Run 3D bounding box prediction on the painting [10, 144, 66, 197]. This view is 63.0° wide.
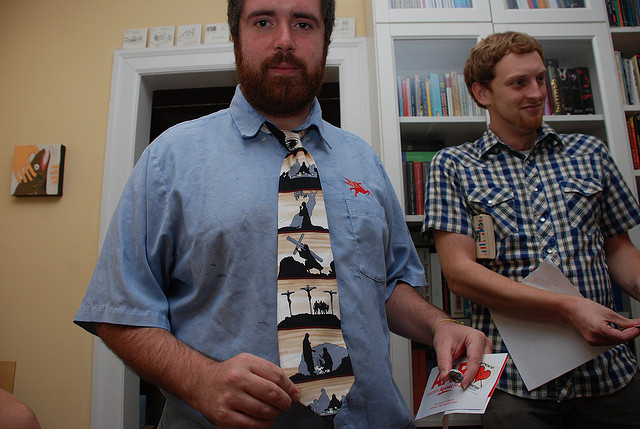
[{"bbox_3d":[-1.774,-0.274,3.337,0.331,0.327,0.078,-1,-8,4],"label":"painting"}]

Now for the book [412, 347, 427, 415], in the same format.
[{"bbox_3d":[0.551,0.910,2.882,0.084,0.284,0.103,-4,2,12],"label":"book"}]

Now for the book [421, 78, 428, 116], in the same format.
[{"bbox_3d":[0.614,-0.688,3.065,0.030,0.171,0.035,-4,2,14],"label":"book"}]

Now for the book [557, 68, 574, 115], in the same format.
[{"bbox_3d":[1.431,-0.718,3.053,0.061,0.180,0.056,-4,2,-4],"label":"book"}]

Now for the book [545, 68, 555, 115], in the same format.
[{"bbox_3d":[1.342,-0.700,3.046,0.027,0.171,0.048,-4,2,3],"label":"book"}]

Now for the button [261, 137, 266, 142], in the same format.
[{"bbox_3d":[-0.212,-0.283,1.975,0.016,0.017,0.004,-2,0,2],"label":"button"}]

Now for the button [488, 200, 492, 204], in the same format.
[{"bbox_3d":[0.774,-0.056,2.378,0.017,0.012,0.008,-4,2,15],"label":"button"}]

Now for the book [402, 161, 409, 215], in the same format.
[{"bbox_3d":[0.491,-0.152,2.986,0.027,0.240,0.066,-4,2,9],"label":"book"}]

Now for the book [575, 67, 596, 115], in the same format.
[{"bbox_3d":[1.603,-0.744,3.179,0.091,0.261,0.264,8,12,29],"label":"book"}]

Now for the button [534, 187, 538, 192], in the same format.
[{"bbox_3d":[0.988,-0.113,2.389,0.016,0.017,0.004,4,-2,13],"label":"button"}]

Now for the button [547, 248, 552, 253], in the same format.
[{"bbox_3d":[1.013,0.160,2.307,0.019,0.014,0.011,-1,-18,11],"label":"button"}]

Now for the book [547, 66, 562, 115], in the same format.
[{"bbox_3d":[1.365,-0.712,3.051,0.044,0.199,0.196,-1,5,12],"label":"book"}]

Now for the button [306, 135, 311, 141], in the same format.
[{"bbox_3d":[-0.044,-0.293,2.020,0.012,0.017,0.016,-2,-4,-3],"label":"button"}]

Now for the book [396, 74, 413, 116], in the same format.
[{"bbox_3d":[0.490,-0.684,3.049,0.073,0.206,0.211,-8,8,8],"label":"book"}]

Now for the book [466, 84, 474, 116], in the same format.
[{"bbox_3d":[0.878,-0.634,3.043,0.028,0.119,0.040,-4,2,17],"label":"book"}]

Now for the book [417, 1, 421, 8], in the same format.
[{"bbox_3d":[0.586,-1.238,3.093,0.027,0.055,0.011,-1,-10,-3],"label":"book"}]

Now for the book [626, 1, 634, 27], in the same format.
[{"bbox_3d":[1.862,-1.199,3.137,0.020,0.161,0.037,-4,2,6],"label":"book"}]

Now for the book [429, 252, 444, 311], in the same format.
[{"bbox_3d":[0.658,0.375,2.948,0.066,0.247,0.116,-4,2,13],"label":"book"}]

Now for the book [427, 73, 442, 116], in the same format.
[{"bbox_3d":[0.673,-0.690,3.069,0.039,0.292,0.220,-7,4,4],"label":"book"}]

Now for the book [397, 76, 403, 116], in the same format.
[{"bbox_3d":[0.471,-0.689,3.050,0.028,0.184,0.044,-4,2,14],"label":"book"}]

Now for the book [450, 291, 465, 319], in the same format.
[{"bbox_3d":[0.763,0.501,2.898,0.076,0.115,0.034,-4,2,14],"label":"book"}]

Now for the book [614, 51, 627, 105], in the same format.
[{"bbox_3d":[1.797,-0.813,3.124,0.037,0.329,0.095,-4,2,9],"label":"book"}]

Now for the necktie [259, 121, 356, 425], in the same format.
[{"bbox_3d":[-0.044,0.184,1.901,0.261,0.946,0.214,-4,2,-7],"label":"necktie"}]

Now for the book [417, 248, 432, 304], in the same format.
[{"bbox_3d":[0.584,0.345,2.909,0.071,0.236,0.218,-4,2,12],"label":"book"}]

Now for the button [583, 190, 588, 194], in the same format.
[{"bbox_3d":[1.201,-0.101,2.366,0.012,0.012,0.003,5,-3,21],"label":"button"}]

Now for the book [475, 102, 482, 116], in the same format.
[{"bbox_3d":[0.878,-0.583,2.896,0.038,0.071,0.068,-13,11,9],"label":"book"}]
